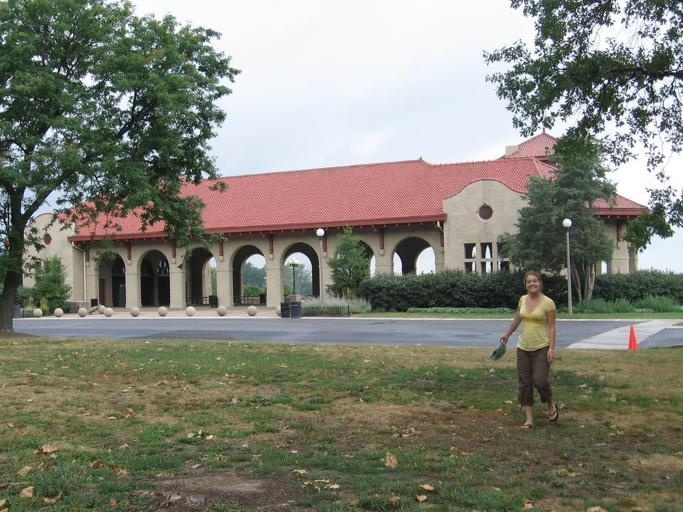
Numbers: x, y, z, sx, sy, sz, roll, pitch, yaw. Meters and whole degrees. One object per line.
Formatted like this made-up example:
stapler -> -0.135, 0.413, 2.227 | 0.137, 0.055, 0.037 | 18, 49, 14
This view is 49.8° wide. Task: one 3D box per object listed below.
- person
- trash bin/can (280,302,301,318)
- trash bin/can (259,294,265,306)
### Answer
person -> 3.451, 1.629, 13.149 | 0.869, 2.669, 1.069 | 1, 5, 17
trash bin/can -> -2.495, 2.703, 36.509 | 0.653, 0.880, 1.099 | 5, -9, -43
trash bin/can -> -6.137, 3.452, 57.238 | 0.517, 1.067, 0.544 | -1, -3, -7
